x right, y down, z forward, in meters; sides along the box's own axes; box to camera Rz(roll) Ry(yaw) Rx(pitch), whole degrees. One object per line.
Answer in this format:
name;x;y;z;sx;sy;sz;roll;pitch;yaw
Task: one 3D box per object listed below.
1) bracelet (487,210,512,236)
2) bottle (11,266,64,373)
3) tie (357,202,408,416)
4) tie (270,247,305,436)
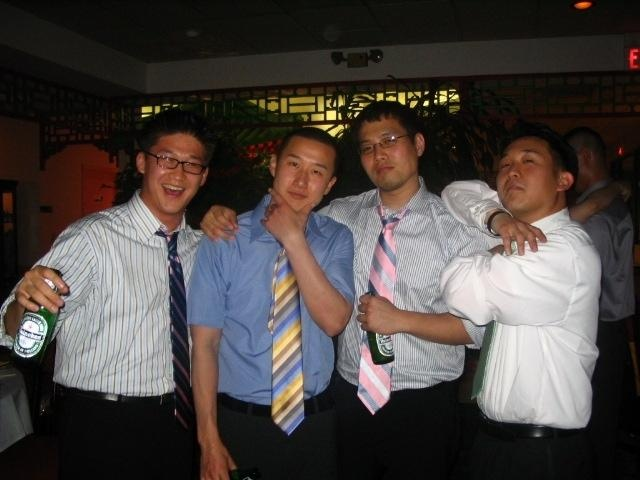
bracelet;0.806;-0.075;2.163;0.026;0.106;0.112;14;53;44
bottle;-1.191;0.399;1.993;0.175;0.245;0.311;-1;2;-33
tie;0.299;0.290;2.299;0.150;1.058;0.056;10;-18;-2
tie;-0.143;0.428;2.054;0.126;0.760;0.166;0;2;-7
